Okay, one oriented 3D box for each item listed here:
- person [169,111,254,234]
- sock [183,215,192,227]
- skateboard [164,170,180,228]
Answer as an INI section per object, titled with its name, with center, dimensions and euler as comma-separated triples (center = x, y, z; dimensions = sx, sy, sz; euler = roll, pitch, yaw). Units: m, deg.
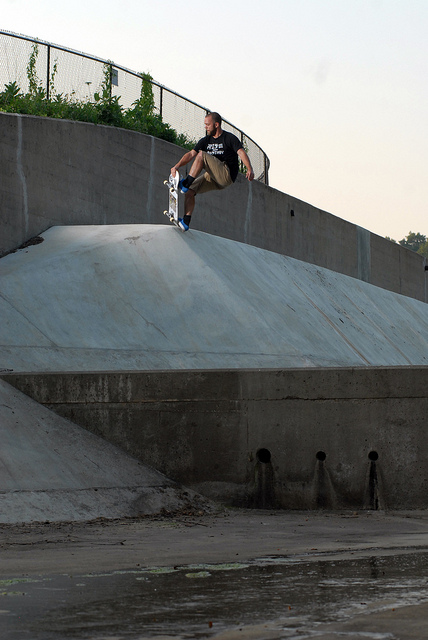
[person]
center = 0.004, -1.808, 19.817
dimensions = 0.950, 1.653, 0.644
euler = 8, -13, 13
[sock]
center = -0.360, -1.372, 21.528
dimensions = 0.085, 0.171, 0.239
euler = 2, 9, -2
[skateboard]
center = -0.553, -1.740, 21.897
dimensions = 0.124, 0.962, 0.219
euler = 12, 36, 12
